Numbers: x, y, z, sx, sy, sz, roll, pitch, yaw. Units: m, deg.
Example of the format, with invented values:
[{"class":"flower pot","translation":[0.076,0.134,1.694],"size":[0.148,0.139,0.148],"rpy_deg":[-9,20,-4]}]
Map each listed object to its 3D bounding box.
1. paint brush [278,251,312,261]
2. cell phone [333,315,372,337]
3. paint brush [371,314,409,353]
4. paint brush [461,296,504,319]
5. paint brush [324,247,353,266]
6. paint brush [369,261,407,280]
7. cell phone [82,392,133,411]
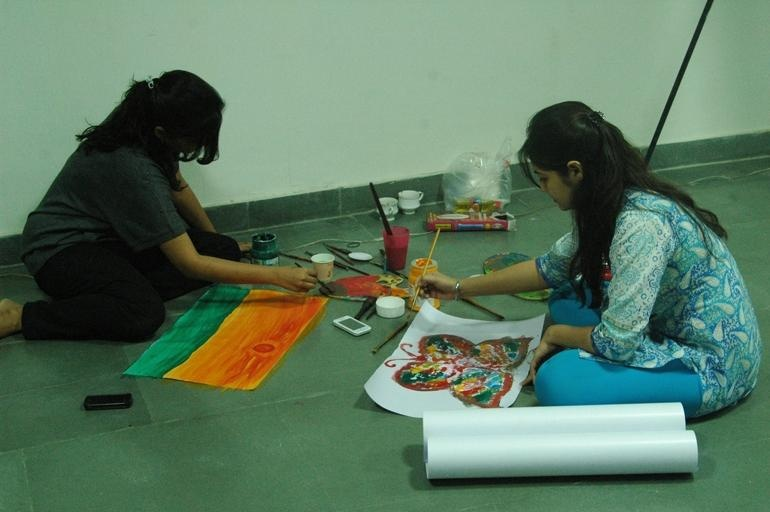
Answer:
[{"class":"paint brush","translation":[-0.524,-0.006,3.866],"size":[0.207,0.019,0.027],"rpy_deg":[10,10,6]},{"class":"cell phone","translation":[-0.160,0.333,3.199],"size":[0.149,0.023,0.088],"rpy_deg":[25,39,34]},{"class":"paint brush","translation":[0.027,0.374,3.143],"size":[0.264,0.029,0.022],"rpy_deg":[-34,62,-24]},{"class":"paint brush","translation":[0.493,0.261,3.341],"size":[0.332,0.042,0.018],"rpy_deg":[24,22,35]},{"class":"paint brush","translation":[-0.275,-0.027,3.884],"size":[0.316,0.052,0.014],"rpy_deg":[28,63,40]},{"class":"paint brush","translation":[0.033,0.070,3.667],"size":[0.070,0.031,0.391],"rpy_deg":[-13,16,-16]},{"class":"cell phone","translation":[-1.167,0.607,2.766],"size":[0.160,0.033,0.082],"rpy_deg":[0,17,-6]}]
